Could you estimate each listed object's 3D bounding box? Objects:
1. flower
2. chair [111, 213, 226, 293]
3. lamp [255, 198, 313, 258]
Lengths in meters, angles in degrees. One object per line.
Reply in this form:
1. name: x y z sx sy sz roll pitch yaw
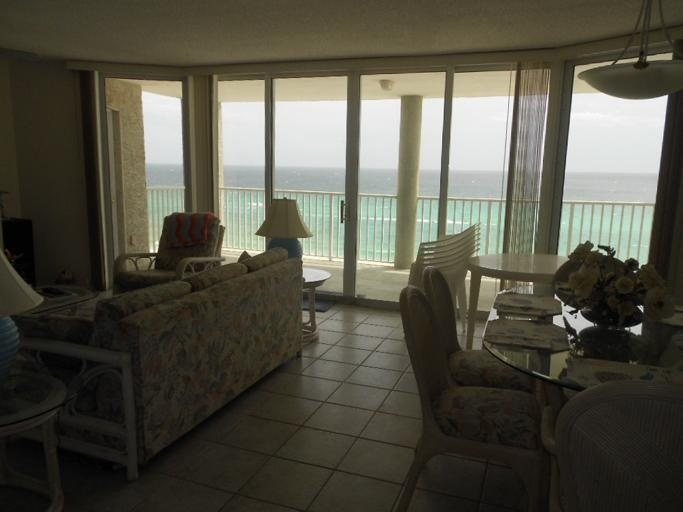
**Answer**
1. flower: 1.310 0.151 2.665 0.510 0.349 0.509 2 8 -14
2. chair: -1.696 0.115 5.174 1.066 1.100 1.054 4 1 -30
3. lamp: -0.496 -0.282 4.547 0.490 0.612 0.500 -1 9 -8
